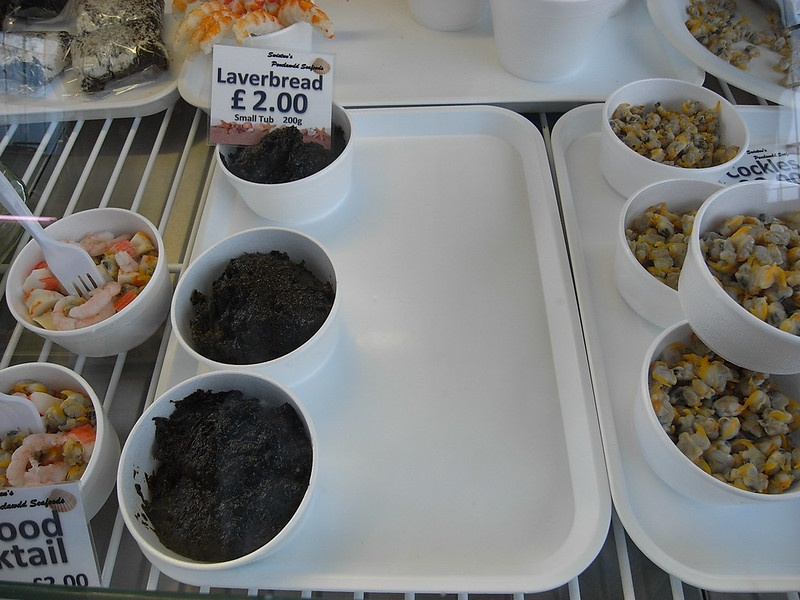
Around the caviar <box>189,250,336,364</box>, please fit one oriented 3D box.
[{"bbox_3d":[-0.250,0.005,1.158,0.265,0.089,0.214,-16,72,-2],"label":"caviar"}]

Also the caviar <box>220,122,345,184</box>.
[{"bbox_3d":[-0.235,-0.327,1.380,0.219,0.123,0.220,7,37,13],"label":"caviar"}]

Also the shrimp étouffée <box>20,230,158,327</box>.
[{"bbox_3d":[-0.545,-0.029,1.155,0.198,0.177,0.152,-20,40,-25],"label":"shrimp étouffée"}]

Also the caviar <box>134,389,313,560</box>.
[{"bbox_3d":[-0.268,0.267,0.990,0.254,0.065,0.256,4,73,4],"label":"caviar"}]

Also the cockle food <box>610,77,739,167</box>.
[{"bbox_3d":[0.548,-0.347,1.338,0.228,0.190,0.186,4,40,4],"label":"cockle food"}]
